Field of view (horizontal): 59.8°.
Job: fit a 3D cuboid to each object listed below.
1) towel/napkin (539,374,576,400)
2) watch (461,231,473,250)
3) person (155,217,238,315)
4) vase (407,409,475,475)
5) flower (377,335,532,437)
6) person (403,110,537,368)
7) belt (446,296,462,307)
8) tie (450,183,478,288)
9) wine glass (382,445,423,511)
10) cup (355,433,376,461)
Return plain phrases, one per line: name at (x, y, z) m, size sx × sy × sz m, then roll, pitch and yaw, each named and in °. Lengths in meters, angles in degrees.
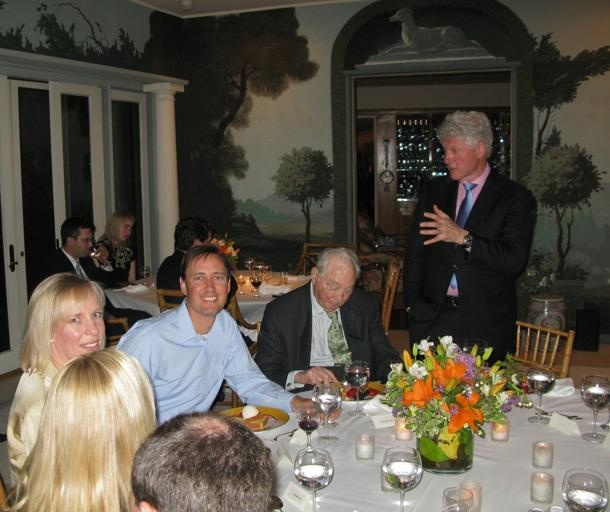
towel/napkin at (1.106, 0.585, 2.346) m, size 0.132 × 0.039 × 0.135 m, roll -5°, pitch 3°, yaw 17°
watch at (0.804, -0.072, 2.652) m, size 0.072 × 0.071 × 0.071 m, roll -2°, pitch 3°, yaw 0°
person at (-0.922, 0.110, 4.333) m, size 0.468 × 0.818 × 0.623 m, roll 6°, pitch 8°, yaw -4°
vase at (0.431, 0.599, 1.739) m, size 0.161 × 0.178 × 0.163 m, roll 1°, pitch -3°, yaw -10°
flower at (0.463, 0.439, 1.796) m, size 0.394 × 0.272 × 0.397 m, roll -3°, pitch 29°, yaw -2°
person at (0.832, -0.119, 2.806) m, size 0.646 × 1.322 × 0.558 m, roll 4°, pitch 9°, yaw 22°
belt at (0.778, 0.234, 2.817) m, size 0.058 × 0.023 × 0.056 m, roll 14°, pitch -4°, yaw -31°
tie at (0.829, -0.138, 2.865) m, size 0.096 × 0.679 × 0.095 m, roll 6°, pitch 1°, yaw 11°
wine glass at (0.277, 0.622, 1.546) m, size 0.110 × 0.167 × 0.193 m, roll 3°, pitch 8°, yaw 13°
cup at (0.195, 0.638, 1.770) m, size 0.070 × 0.077 × 0.068 m, roll -2°, pitch 4°, yaw 0°
